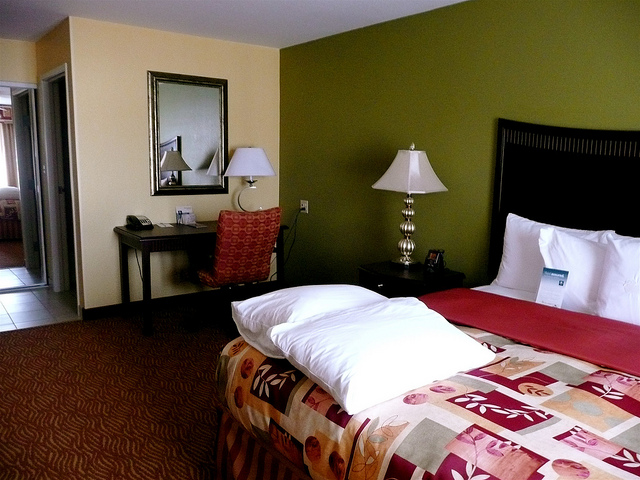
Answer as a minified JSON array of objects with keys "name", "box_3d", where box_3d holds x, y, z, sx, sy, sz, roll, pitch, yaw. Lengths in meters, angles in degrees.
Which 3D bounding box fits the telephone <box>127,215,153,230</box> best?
[{"name":"telephone","box_3d":[-1.650,-0.180,4.236,0.125,0.072,0.171,-6,14,-38]}]

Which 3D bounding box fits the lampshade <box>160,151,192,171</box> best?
[{"name":"lampshade","box_3d":[-1.424,-0.771,4.527,0.183,0.143,0.187,-7,16,-24]}]

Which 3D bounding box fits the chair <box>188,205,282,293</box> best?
[{"name":"chair","box_3d":[-0.757,-0.057,4.221,0.591,0.813,0.802,-6,30,-29]}]

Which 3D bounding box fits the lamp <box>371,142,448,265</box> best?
[{"name":"lamp","box_3d":[0.696,-0.241,3.516,0.611,0.851,0.564,2,8,2]}]

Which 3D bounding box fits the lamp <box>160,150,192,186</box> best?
[{"name":"lamp","box_3d":[-1.418,-0.720,4.541,0.252,0.337,0.257,10,15,38]}]

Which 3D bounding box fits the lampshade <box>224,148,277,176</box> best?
[{"name":"lampshade","box_3d":[-0.665,-0.737,4.445,0.315,0.184,0.327,-4,14,-18]}]

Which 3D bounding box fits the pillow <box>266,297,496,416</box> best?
[{"name":"pillow","box_3d":[0.196,0.426,1.921,0.594,0.170,0.439,-8,16,-34]}]

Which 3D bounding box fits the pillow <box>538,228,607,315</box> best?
[{"name":"pillow","box_3d":[1.355,0.154,2.488,0.400,0.415,0.122,11,7,33]}]

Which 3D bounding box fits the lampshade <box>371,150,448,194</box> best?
[{"name":"lampshade","box_3d":[0.685,-0.504,3.442,0.489,0.352,0.492,-2,6,-27]}]

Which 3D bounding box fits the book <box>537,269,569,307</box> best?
[{"name":"book","box_3d":[1.283,0.265,2.577,0.122,0.227,0.022,7,-28,33]}]

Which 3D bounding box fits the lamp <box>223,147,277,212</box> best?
[{"name":"lamp","box_3d":[-0.676,-0.560,4.591,0.468,0.615,0.483,-5,-13,41]}]

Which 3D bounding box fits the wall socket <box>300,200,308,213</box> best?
[{"name":"wall socket","box_3d":[-0.164,-0.358,4.857,0.024,0.139,0.111,-10,16,-42]}]

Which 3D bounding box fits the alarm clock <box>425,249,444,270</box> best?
[{"name":"alarm clock","box_3d":[0.827,0.145,3.339,0.080,0.153,0.100,29,-25,-35]}]
